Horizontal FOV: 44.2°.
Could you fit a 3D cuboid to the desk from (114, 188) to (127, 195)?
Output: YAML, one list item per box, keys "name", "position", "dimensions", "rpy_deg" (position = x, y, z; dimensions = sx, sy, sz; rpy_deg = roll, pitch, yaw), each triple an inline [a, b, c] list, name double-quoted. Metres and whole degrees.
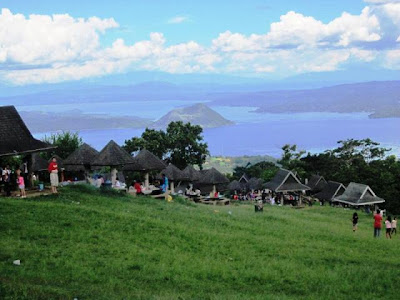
- name: "desk"
  position: [-7.552, 3.898, 46.832]
  dimensions: [0.746, 0.380, 0.775]
  rpy_deg: [6, -9, 19]
